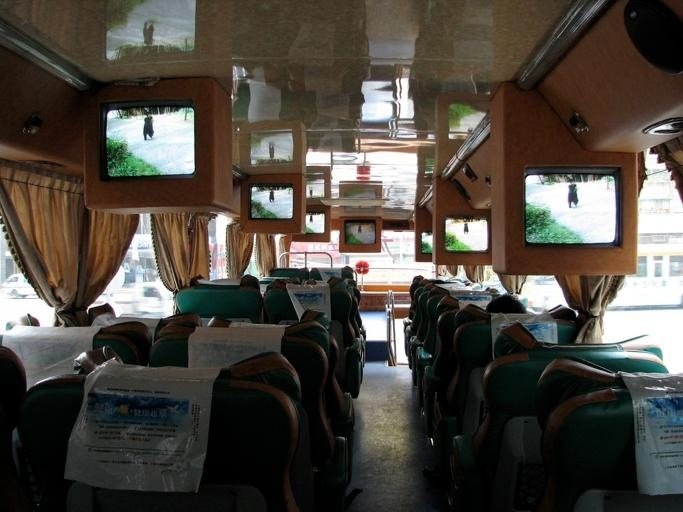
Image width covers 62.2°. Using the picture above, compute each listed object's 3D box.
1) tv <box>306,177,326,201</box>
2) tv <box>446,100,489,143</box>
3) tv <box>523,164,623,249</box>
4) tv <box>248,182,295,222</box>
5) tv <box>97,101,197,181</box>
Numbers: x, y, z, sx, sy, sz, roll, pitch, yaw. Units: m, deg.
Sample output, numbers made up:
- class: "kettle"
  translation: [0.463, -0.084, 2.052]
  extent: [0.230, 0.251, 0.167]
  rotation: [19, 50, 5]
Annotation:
- class: "tv"
  translation: [-0.472, -1.185, 10.034]
  extent: [0.565, 0.287, 0.527]
  rotation: [0, -3, 9]
- class: "tv"
  translation: [1.153, -1.277, 5.380]
  extent: [0.294, 0.085, 0.334]
  rotation: [-11, -18, 40]
- class: "tv"
  translation: [1.398, -0.313, 3.416]
  extent: [0.498, 0.411, 0.195]
  rotation: [0, 3, 0]
- class: "tv"
  translation: [-0.873, -0.663, 7.144]
  extent: [0.516, 0.376, 0.067]
  rotation: [0, -9, 8]
- class: "tv"
  translation: [-1.171, -0.624, 3.583]
  extent: [0.771, 0.546, 0.418]
  rotation: [0, 1, 4]
